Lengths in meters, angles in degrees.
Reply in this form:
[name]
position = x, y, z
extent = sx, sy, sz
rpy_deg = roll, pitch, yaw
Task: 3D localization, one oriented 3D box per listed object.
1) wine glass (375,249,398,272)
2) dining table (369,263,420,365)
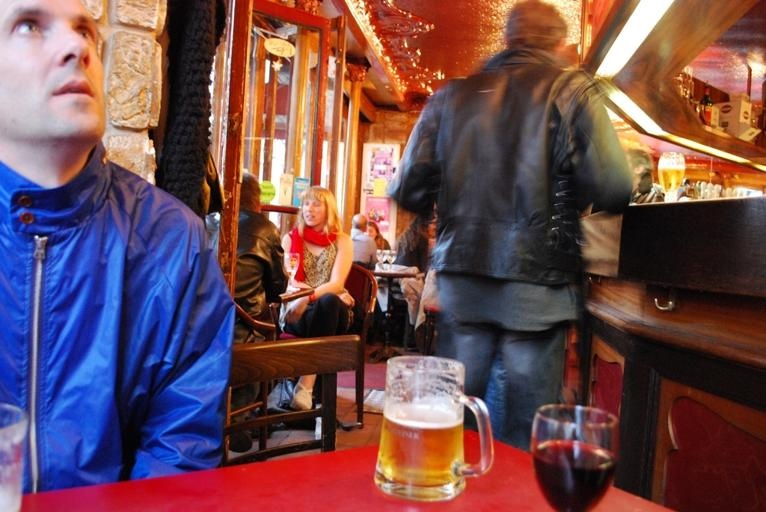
[wine glass]
position = 0.025, 0.043, 5.776
extent = 0.228, 0.241, 0.225
rpy_deg = 1, -10, 0
[dining table]
position = 0.077, 0.531, 5.554
extent = 0.817, 0.871, 0.786
rpy_deg = 1, -5, 1
